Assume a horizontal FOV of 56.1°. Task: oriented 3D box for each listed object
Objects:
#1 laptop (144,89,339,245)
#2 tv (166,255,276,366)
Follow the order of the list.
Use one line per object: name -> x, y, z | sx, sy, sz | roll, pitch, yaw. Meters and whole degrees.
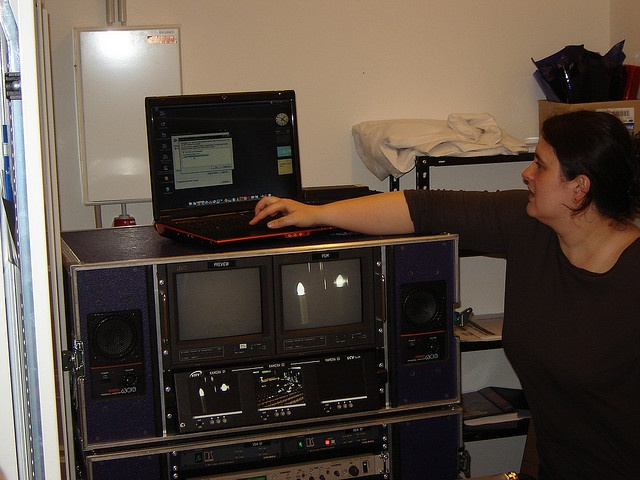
laptop -> -0.292, -0.267, 1.970 | 0.604, 0.499, 0.475 | -6, 12, -30
tv -> -0.282, 0.186, 1.844 | 0.364, 0.377, 0.273 | -1, -2, -13
